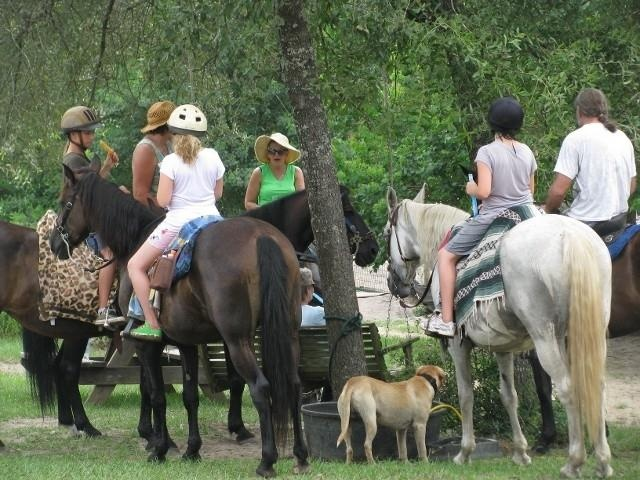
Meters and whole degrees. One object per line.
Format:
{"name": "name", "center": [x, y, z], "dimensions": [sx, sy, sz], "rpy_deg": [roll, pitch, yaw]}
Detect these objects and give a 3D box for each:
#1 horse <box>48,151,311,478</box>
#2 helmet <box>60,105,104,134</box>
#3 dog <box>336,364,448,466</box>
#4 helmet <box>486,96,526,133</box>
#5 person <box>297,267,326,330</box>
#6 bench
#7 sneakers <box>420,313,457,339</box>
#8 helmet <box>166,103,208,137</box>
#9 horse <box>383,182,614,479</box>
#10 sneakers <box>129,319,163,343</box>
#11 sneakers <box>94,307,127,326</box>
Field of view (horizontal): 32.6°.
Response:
{"name": "horse", "center": [-1.716, 0.948, 13.295], "dimensions": [3.692, 3.376, 1.161], "rpy_deg": [-1, -1, 39]}
{"name": "helmet", "center": [-3.133, -1.554, 14.306], "dimensions": [0.455, 0.249, 0.331], "rpy_deg": [-2, 7, 9]}
{"name": "dog", "center": [0.807, 2.035, 12.560], "dimensions": [1.571, 1.168, 0.476], "rpy_deg": [5, -4, -33]}
{"name": "helmet", "center": [2.147, -1.438, 12.465], "dimensions": [0.405, 0.312, 0.519], "rpy_deg": [-2, 27, 3]}
{"name": "person", "center": [-0.193, 0.831, 14.384], "dimensions": [0.394, 0.863, 0.887], "rpy_deg": [-4, -1, -8]}
{"name": "bench", "center": [-0.242, 1.744, 14.635], "dimensions": [2.472, 1.247, 1.161], "rpy_deg": [-1, -5, 18]}
{"name": "sneakers", "center": [1.309, 1.000, 12.484], "dimensions": [0.483, 0.256, 0.180], "rpy_deg": [6, 4, 44]}
{"name": "helmet", "center": [-1.538, -1.364, 12.840], "dimensions": [0.484, 0.399, 0.646], "rpy_deg": [10, 4, -10]}
{"name": "horse", "center": [2.064, 1.100, 12.535], "dimensions": [1.159, 2.812, 3.132], "rpy_deg": [-3, 1, -36]}
{"name": "sneakers", "center": [-2.046, 1.109, 12.904], "dimensions": [0.431, 0.193, 0.163], "rpy_deg": [3, -4, 29]}
{"name": "sneakers", "center": [-2.638, 0.976, 13.751], "dimensions": [0.193, 0.236, 0.559], "rpy_deg": [5, -11, -42]}
